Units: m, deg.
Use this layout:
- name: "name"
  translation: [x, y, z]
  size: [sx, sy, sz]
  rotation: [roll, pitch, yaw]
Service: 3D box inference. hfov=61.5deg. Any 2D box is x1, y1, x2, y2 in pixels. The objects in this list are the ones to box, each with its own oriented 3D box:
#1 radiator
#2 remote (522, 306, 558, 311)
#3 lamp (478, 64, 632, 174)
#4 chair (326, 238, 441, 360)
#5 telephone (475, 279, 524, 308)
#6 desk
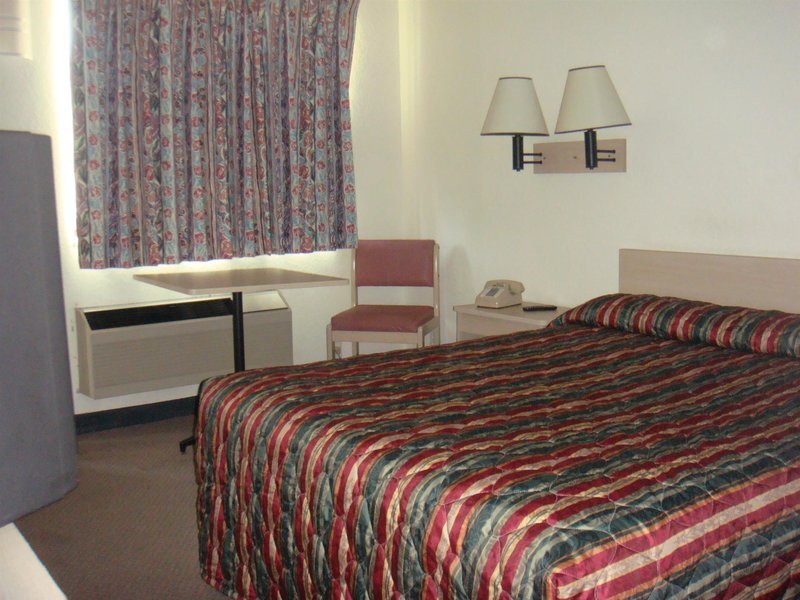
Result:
- name: "radiator"
  translation: [-1.688, 0.290, 4.670]
  size: [0.341, 0.516, 1.241]
  rotation: [8, 7, 30]
- name: "remote"
  translation: [0.911, 0.043, 4.368]
  size: [0.152, 0.021, 0.078]
  rotation: [-1, 2, -11]
- name: "lamp"
  translation: [1.002, -1.092, 4.184]
  size: [0.856, 0.573, 0.570]
  rotation: [7, 13, 26]
- name: "chair"
  translation: [-0.104, 0.083, 4.968]
  size: [0.673, 1.080, 0.778]
  rotation: [1, 8, 11]
- name: "telephone"
  translation: [0.684, -0.053, 4.586]
  size: [0.203, 0.134, 0.263]
  rotation: [-4, 5, -40]
- name: "desk"
  translation: [-1.027, 0.330, 4.375]
  size: [1.229, 0.952, 1.211]
  rotation: [-3, 5, 19]
